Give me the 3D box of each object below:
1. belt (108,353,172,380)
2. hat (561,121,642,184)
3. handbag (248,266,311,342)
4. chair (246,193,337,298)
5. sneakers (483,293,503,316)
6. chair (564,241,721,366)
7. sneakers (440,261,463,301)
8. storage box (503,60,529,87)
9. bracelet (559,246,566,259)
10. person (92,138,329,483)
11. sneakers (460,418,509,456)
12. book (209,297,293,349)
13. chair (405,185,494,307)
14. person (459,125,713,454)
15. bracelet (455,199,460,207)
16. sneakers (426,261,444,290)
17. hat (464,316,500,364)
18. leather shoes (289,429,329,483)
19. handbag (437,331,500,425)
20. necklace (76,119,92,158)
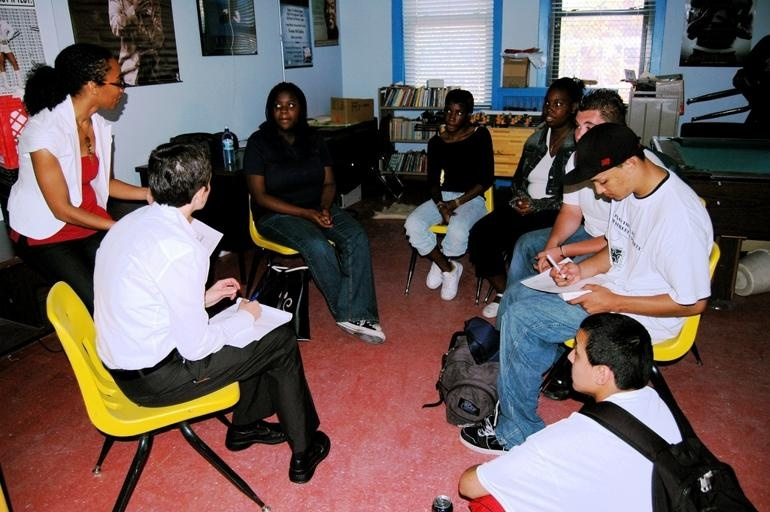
[{"bbox_3d":[-1.122,0.526,2.520,0.163,0.038,0.162,-33,26,-28],"label":"belt"},{"bbox_3d":[1.101,-0.505,2.687,0.353,0.294,0.173,-5,20,-16],"label":"hat"},{"bbox_3d":[-0.749,0.283,3.627,0.462,0.265,0.452,-3,54,30],"label":"handbag"},{"bbox_3d":[-0.861,-0.092,4.355,0.602,0.723,0.610,1,-3,8],"label":"chair"},{"bbox_3d":[0.871,0.371,4.363,0.095,0.087,0.251,21,37,31],"label":"sneakers"},{"bbox_3d":[1.261,0.214,2.736,0.638,0.797,0.540,-3,27,3],"label":"chair"},{"bbox_3d":[0.585,0.223,4.629,0.141,0.367,0.166,8,-8,31],"label":"sneakers"},{"bbox_3d":[1.713,-2.403,7.182,0.347,0.305,0.337,1,12,8],"label":"storage box"},{"bbox_3d":[1.117,-0.025,3.407,0.017,0.065,0.052,-6,-10,4],"label":"bracelet"},{"bbox_3d":[-0.896,0.409,2.944,0.771,1.739,1.187,9,17,35],"label":"person"},{"bbox_3d":[0.574,1.068,3.108,0.341,0.138,0.123,16,-23,-26],"label":"sneakers"},{"bbox_3d":[-0.628,0.352,2.739,0.287,0.062,0.268,19,30,30],"label":"book"},{"bbox_3d":[0.487,-0.164,4.751,0.911,1.217,0.808,-1,18,-1],"label":"chair"},{"bbox_3d":[1.019,0.181,2.991,1.425,1.674,0.875,-4,15,-8],"label":"person"},{"bbox_3d":[0.603,-0.441,4.483,0.071,0.064,0.019,2,0,-1],"label":"bracelet"},{"bbox_3d":[0.454,0.185,4.725,0.100,0.262,0.106,24,-31,-21],"label":"sneakers"},{"bbox_3d":[0.611,0.513,3.340,0.220,0.105,0.260,2,51,-2],"label":"hat"},{"bbox_3d":[-0.429,1.095,3.076,0.182,0.170,0.410,0,15,9],"label":"leather shoes"},{"bbox_3d":[0.575,0.730,3.417,0.447,0.212,0.605,8,30,11],"label":"handbag"},{"bbox_3d":[-1.819,-0.721,3.310,0.078,0.191,0.004,-2,6,15],"label":"necklace"}]
